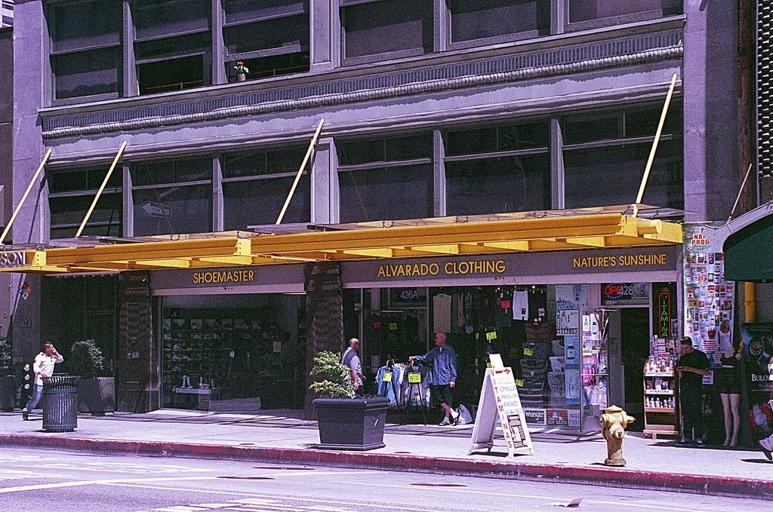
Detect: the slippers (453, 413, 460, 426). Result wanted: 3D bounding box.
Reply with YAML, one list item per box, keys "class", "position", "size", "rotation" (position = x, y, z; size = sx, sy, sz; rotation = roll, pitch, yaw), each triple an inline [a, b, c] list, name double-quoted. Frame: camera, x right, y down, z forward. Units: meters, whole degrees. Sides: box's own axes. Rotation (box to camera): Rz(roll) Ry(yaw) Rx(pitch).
- class: "slippers"
  position: [1.892, 4.394, 37.321]
  size: [0.122, 0.341, 0.122]
  rotation: [6, 4, 16]

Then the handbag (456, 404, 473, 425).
- class: "handbag"
  position: [2.111, 4.304, 37.542]
  size: [0.332, 0.501, 0.477]
  rotation: [-5, -28, 27]

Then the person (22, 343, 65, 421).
- class: "person"
  position: [-9.805, 3.500, 39.787]
  size: [1.134, 2.397, 1.050]
  rotation: [0, -2, 9]

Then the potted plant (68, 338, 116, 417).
- class: "potted plant"
  position: [-8.626, 3.630, 41.136]
  size: [1.194, 2.255, 1.456]
  rotation: [5, -11, -24]

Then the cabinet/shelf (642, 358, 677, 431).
- class: "cabinet/shelf"
  position: [6.827, 3.544, 34.873]
  size: [0.803, 1.815, 0.620]
  rotation: [-2, -8, -5]

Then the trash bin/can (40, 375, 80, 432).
- class: "trash bin/can"
  position: [-8.606, 3.948, 36.992]
  size: [0.890, 1.574, 1.210]
  rotation: [3, -10, -14]

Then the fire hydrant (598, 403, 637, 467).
- class: "fire hydrant"
  position: [5.231, 4.107, 32.001]
  size: [1.093, 1.827, 1.363]
  rotation: [0, -4, 5]

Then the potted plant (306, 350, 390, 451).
- class: "potted plant"
  position: [-0.954, 3.526, 33.644]
  size: [1.493, 2.415, 1.406]
  rotation: [5, -11, -26]

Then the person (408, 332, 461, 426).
- class: "person"
  position: [1.297, 3.311, 37.320]
  size: [1.174, 2.533, 1.190]
  rotation: [-1, -3, 26]
